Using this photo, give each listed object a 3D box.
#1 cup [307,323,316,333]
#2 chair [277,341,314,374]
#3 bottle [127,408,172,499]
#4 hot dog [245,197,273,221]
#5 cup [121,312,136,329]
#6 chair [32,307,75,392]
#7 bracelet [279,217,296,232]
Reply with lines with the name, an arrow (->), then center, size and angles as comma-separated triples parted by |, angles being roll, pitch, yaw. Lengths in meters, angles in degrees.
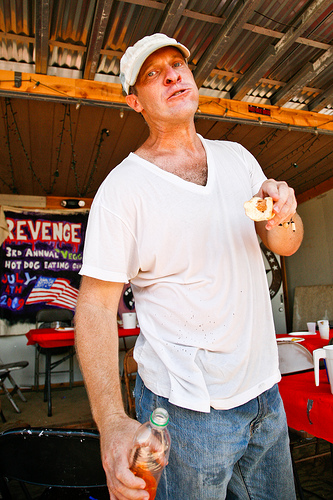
cup -> 1.257, 0.689, 3.296 | 0.084, 0.097, 0.083 | 1, -13, 0
chair -> 0.654, 0.530, 1.927 | 0.213, 0.140, 0.225 | -16, -8, 23
bottle -> -0.029, 0.347, 0.653 | 0.069, 0.157, 0.145 | -2, 0, 0
hot dog -> 0.201, -0.092, 0.814 | 0.059, 0.050, 0.025 | -2, 0, 15
cup -> -0.413, 0.774, 4.072 | 0.168, 0.154, 0.134 | 4, -8, -34
chair -> -1.499, 1.425, 5.282 | 0.611, 1.150, 0.629 | 2, -3, -41
bracelet -> 0.314, -0.067, 0.954 | 0.027, 0.036, 0.015 | 13, 7, -1
